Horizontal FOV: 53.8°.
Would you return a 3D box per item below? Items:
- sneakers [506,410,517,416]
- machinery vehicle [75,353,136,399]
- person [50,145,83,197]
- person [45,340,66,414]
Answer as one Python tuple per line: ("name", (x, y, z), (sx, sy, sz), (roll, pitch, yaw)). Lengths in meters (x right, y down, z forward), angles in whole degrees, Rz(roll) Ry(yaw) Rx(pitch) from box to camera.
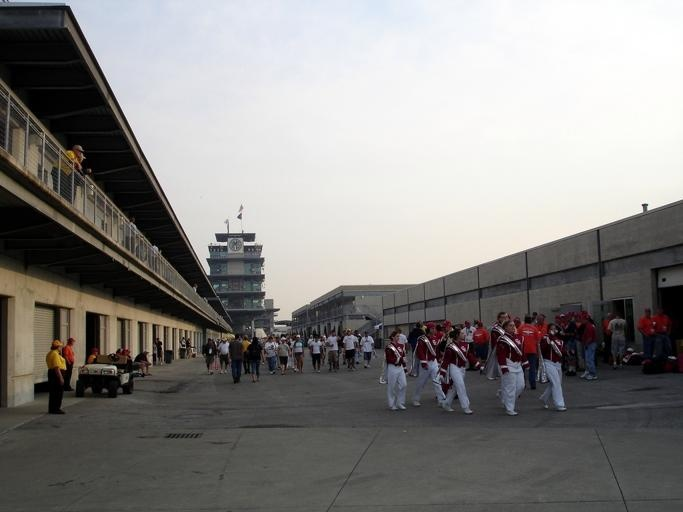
("sneakers", (3.952, 3.623, 15.578), (0.092, 0.112, 0.250), (2, -8, -37))
("machinery vehicle", (-7.862, 3.918, 22.454), (1.518, 1.259, 2.641), (2, -6, 0))
("person", (-7.293, -2.225, 17.813), (0.530, 0.562, 1.655), (-10, -18, -31))
("person", (-7.399, 3.116, 17.473), (0.425, 1.852, 1.069), (0, -4, -23))
